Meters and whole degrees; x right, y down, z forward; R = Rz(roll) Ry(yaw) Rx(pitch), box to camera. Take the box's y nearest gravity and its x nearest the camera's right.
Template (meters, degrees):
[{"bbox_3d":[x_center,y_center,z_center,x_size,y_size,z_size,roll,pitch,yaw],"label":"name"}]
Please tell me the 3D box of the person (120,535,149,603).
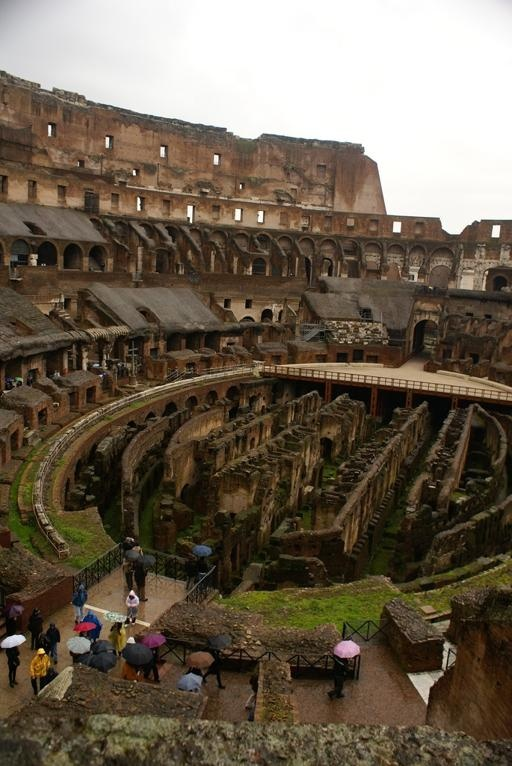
[{"bbox_3d":[-2.890,4.457,13.439,0.648,1.802,0.647,-2,48,-13],"label":"person"}]
